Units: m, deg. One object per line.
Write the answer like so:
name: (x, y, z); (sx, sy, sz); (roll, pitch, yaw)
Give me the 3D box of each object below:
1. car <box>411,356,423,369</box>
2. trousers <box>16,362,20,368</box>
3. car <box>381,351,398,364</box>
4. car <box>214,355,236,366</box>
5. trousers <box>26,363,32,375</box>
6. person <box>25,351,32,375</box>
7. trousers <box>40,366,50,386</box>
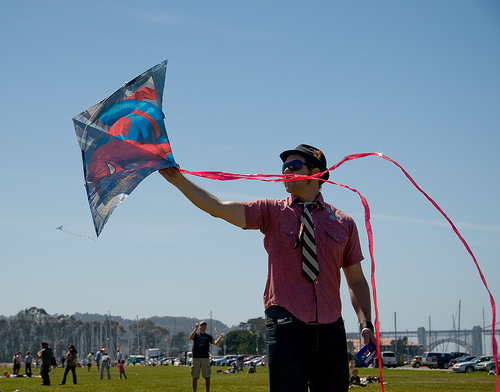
car: (16.101, 16.404, 82.941); (1.021, 1.055, 1.790); (-4, -2, -42)
trousers: (-14.948, 10.854, 53.956); (0.171, 0.328, 1.156); (2, -15, -12)
car: (13.639, 15.739, 82.603); (1.547, 1.394, 2.803); (1, -1, 3)
car: (-3.159, 20.242, 103.207); (2.206, 1.229, 1.296); (4, -6, -9)
trousers: (-14.251, 11.033, 53.856); (0.280, 0.707, 0.838); (3, -15, -17)
person: (-14.289, 10.712, 53.991); (0.371, 1.513, 2.074); (3, -15, -15)
trousers: (-10.242, 8.932, 41.916); (0.459, 0.932, 0.596); (0, -14, -6)
